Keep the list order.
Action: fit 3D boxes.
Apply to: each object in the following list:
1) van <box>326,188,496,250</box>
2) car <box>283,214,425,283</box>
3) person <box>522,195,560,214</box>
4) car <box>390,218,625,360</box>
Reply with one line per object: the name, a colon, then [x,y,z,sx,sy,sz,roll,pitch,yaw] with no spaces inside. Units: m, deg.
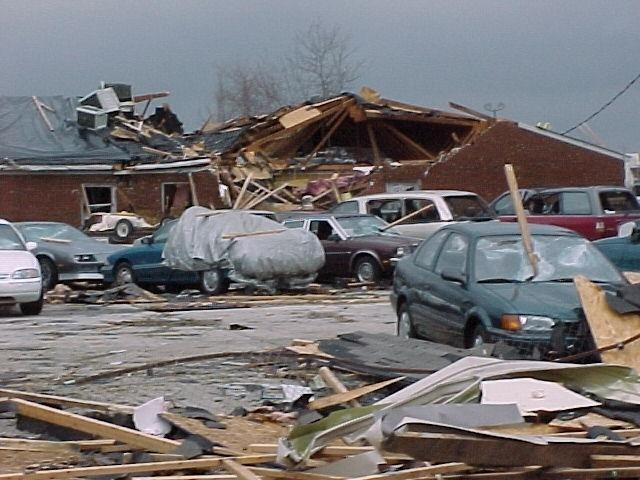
van: [2.382,-0.699,16.503,3.643,0.818,1.740,5,7,36]
car: [0.923,0.017,16.529,2.679,1.126,4.917,-10,11,-35]
person: [5.523,-0.866,15.855,1.382,0.332,0.670,-1,1,11]
car: [2.540,0.465,7.821,2.428,0.921,2.992,-8,10,-4]
